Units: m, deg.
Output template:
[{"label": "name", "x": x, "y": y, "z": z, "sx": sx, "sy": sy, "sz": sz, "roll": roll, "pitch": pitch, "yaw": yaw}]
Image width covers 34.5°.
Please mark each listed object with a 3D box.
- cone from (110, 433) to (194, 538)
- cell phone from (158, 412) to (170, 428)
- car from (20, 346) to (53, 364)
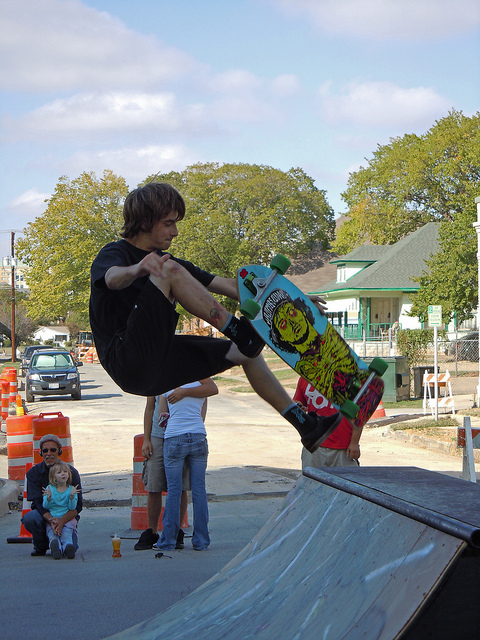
[{"label": "cone", "x": -0.743, "y": 1.325, "z": 6.617, "sx": 0.597, "sy": 0.952, "sz": 0.549, "roll": 1, "pitch": -3, "yaw": -17}, {"label": "cell phone", "x": -0.579, "y": 0.777, "z": 5.970, "sx": 0.048, "sy": 0.098, "sz": 0.083, "roll": 25, "pitch": 3, "yaw": -22}, {"label": "car", "x": -8.114, "y": 1.338, "z": 30.819, "sx": 1.035, "sy": 0.655, "sz": 1.746, "roll": 0, "pitch": -7, "yaw": -9}]
